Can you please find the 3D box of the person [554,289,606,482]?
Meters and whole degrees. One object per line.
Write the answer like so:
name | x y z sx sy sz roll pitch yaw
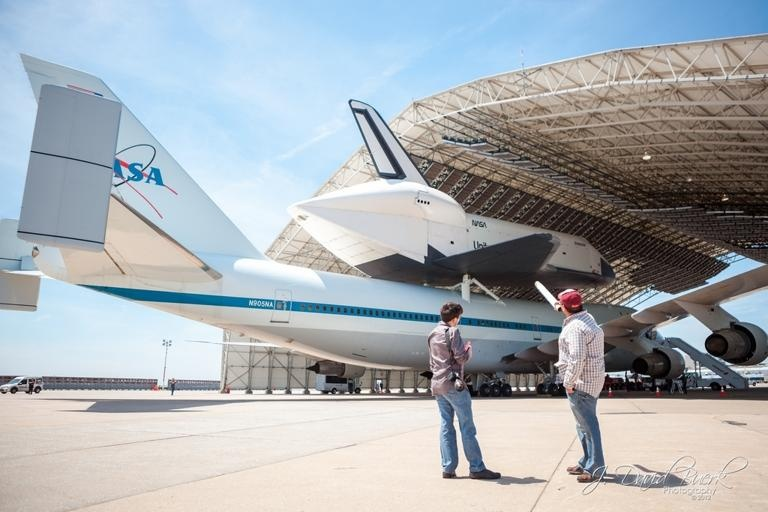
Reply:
person | 2.271 1.389 5.427 0.595 2.137 0.816 -8 -18 19

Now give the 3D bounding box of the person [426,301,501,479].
person | 0.861 1.471 5.430 0.628 1.982 0.693 -3 -17 4

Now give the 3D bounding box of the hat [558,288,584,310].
hat | 2.216 0.510 5.594 0.279 0.168 0.347 2 14 9

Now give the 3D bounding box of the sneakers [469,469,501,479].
sneakers | 1.093 2.362 5.139 0.340 0.105 0.106 -2 -11 -1

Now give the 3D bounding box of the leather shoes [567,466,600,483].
leather shoes | 2.142 2.357 5.123 0.170 0.099 0.379 8 -10 -19

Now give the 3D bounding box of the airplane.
airplane | 0.389 0.582 16.590 18.778 5.177 17.887 4 -7 -38
